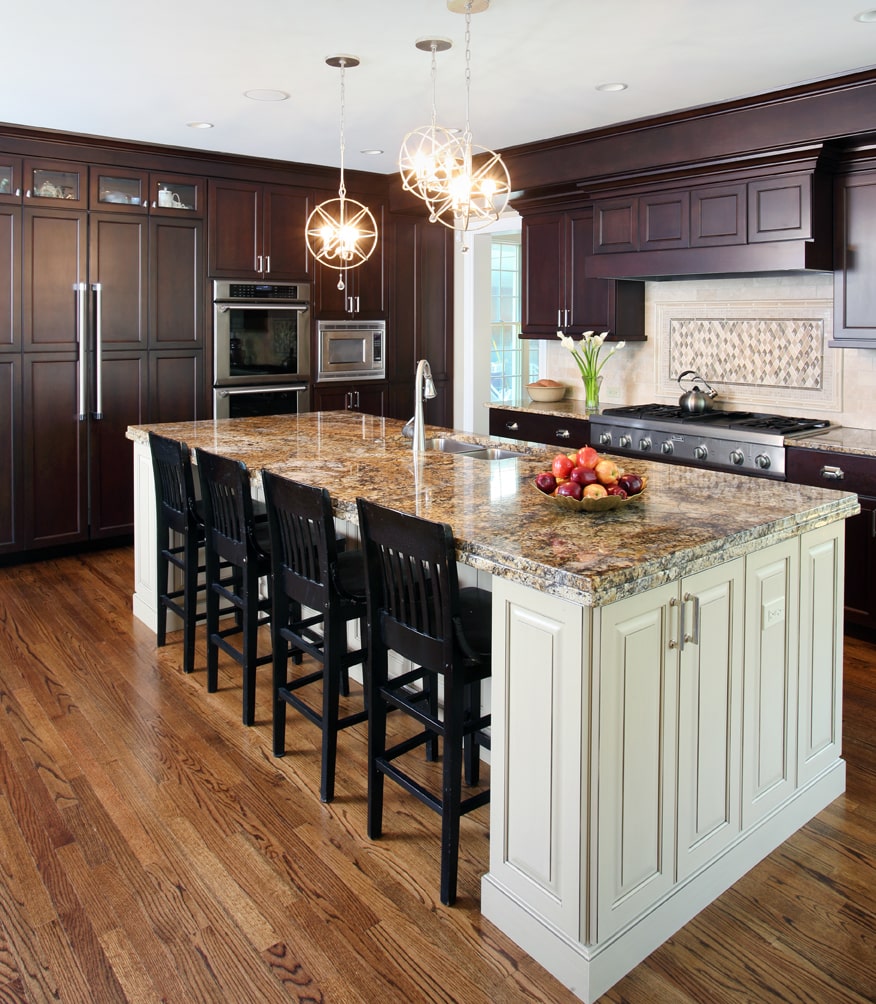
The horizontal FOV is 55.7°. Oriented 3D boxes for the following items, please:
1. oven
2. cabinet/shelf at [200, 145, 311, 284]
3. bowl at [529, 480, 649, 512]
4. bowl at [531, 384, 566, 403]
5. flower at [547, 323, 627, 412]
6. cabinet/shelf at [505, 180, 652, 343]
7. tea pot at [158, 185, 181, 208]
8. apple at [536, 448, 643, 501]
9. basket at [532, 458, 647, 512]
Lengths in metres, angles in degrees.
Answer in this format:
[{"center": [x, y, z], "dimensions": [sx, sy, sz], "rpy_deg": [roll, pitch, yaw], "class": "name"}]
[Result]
[{"center": [-1.148, -1.064, 6.158], "dimensions": [0.912, 1.057, 0.871], "rpy_deg": [2, 6, 4], "class": "oven"}, {"center": [-1.289, -2.000, 5.671], "dimensions": [0.877, 0.763, 0.363], "rpy_deg": [-5, 8, -39], "class": "cabinet/shelf"}, {"center": [0.412, -0.003, 2.217], "dimensions": [0.288, 0.058, 0.199], "rpy_deg": [1, 10, 4], "class": "bowl"}, {"center": [0.786, -0.777, 5.849], "dimensions": [0.178, 0.095, 0.173], "rpy_deg": [1, 7, 0], "class": "bowl"}, {"center": [1.020, -0.924, 5.521], "dimensions": [0.651, 0.623, 0.509], "rpy_deg": [5, 10, 39], "class": "flower"}, {"center": [0.907, -1.524, 5.202], "dimensions": [0.412, 0.948, 1.051], "rpy_deg": [-6, 11, -35], "class": "cabinet/shelf"}, {"center": [-1.754, -1.975, 5.371], "dimensions": [0.154, 0.146, 0.083], "rpy_deg": [-12, 20, -41], "class": "tea pot"}, {"center": [0.424, -0.080, 2.392], "dimensions": [0.220, 0.100, 0.240], "rpy_deg": [0, 7, 2], "class": "apple"}, {"center": [0.400, -0.065, 2.226], "dimensions": [0.183, 0.083, 0.196], "rpy_deg": [0, 10, 4], "class": "basket"}]
